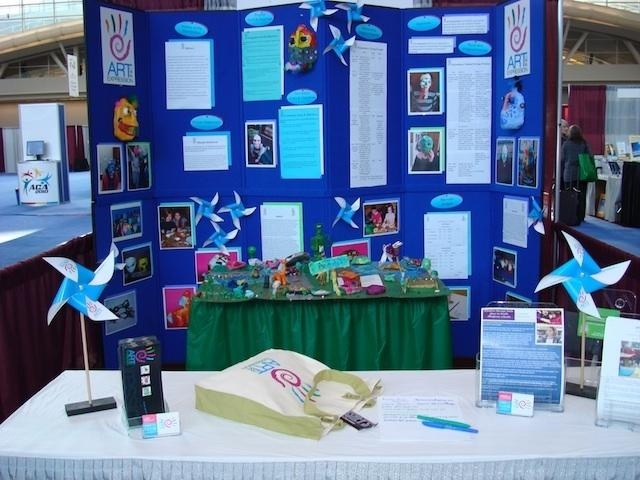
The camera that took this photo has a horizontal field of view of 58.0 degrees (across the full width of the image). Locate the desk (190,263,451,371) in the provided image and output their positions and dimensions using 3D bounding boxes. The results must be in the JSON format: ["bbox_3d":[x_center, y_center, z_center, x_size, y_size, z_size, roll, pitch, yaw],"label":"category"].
[{"bbox_3d":[0.023,0.360,3.851,1.180,0.495,0.821,0,11,-2],"label":"desk"}]

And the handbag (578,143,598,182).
[{"bbox_3d":[4.088,-1.124,8.812,0.246,0.523,0.328,9,18,35],"label":"handbag"}]

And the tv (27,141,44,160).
[{"bbox_3d":[-6.354,-2.013,12.866,0.353,0.414,0.125,0,-7,-3],"label":"tv"}]
